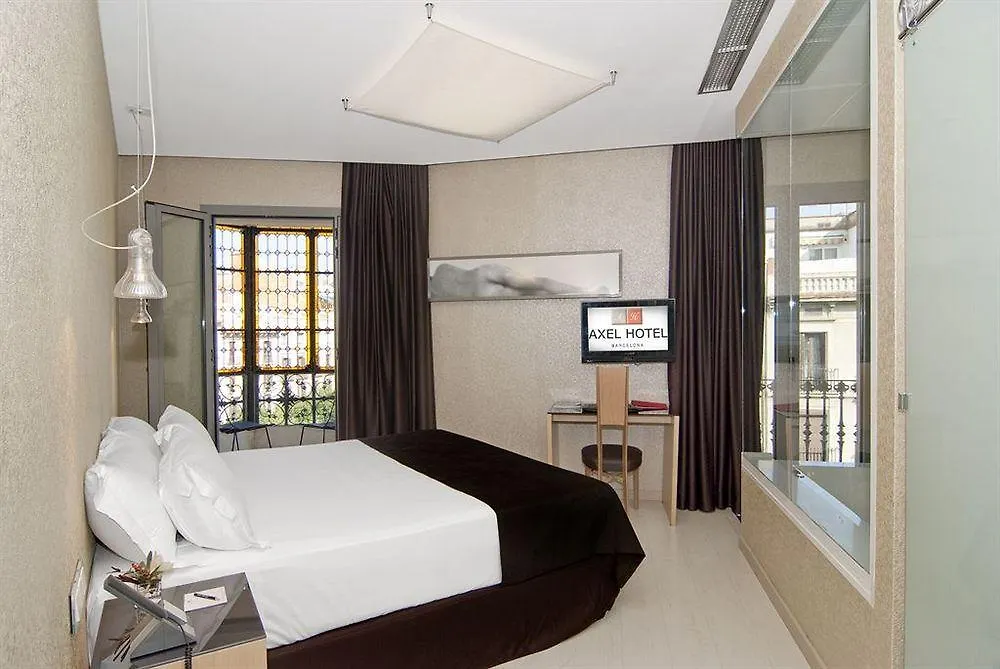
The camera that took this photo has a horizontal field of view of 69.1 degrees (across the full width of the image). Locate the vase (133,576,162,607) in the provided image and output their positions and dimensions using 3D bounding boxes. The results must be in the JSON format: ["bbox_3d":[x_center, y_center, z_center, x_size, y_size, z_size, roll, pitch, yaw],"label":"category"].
[{"bbox_3d":[-1.431,1.052,2.977,0.088,0.042,0.118,4,8,-18],"label":"vase"}]

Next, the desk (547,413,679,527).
[{"bbox_3d":[0.907,1.193,5.838,1.357,1.112,0.736,0,-9,5],"label":"desk"}]

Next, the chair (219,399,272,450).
[{"bbox_3d":[-2.488,0.921,7.199,0.428,0.660,0.486,-12,-12,-12],"label":"chair"}]

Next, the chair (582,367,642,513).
[{"bbox_3d":[0.811,0.812,5.422,0.470,1.115,0.480,-5,-9,20],"label":"chair"}]
